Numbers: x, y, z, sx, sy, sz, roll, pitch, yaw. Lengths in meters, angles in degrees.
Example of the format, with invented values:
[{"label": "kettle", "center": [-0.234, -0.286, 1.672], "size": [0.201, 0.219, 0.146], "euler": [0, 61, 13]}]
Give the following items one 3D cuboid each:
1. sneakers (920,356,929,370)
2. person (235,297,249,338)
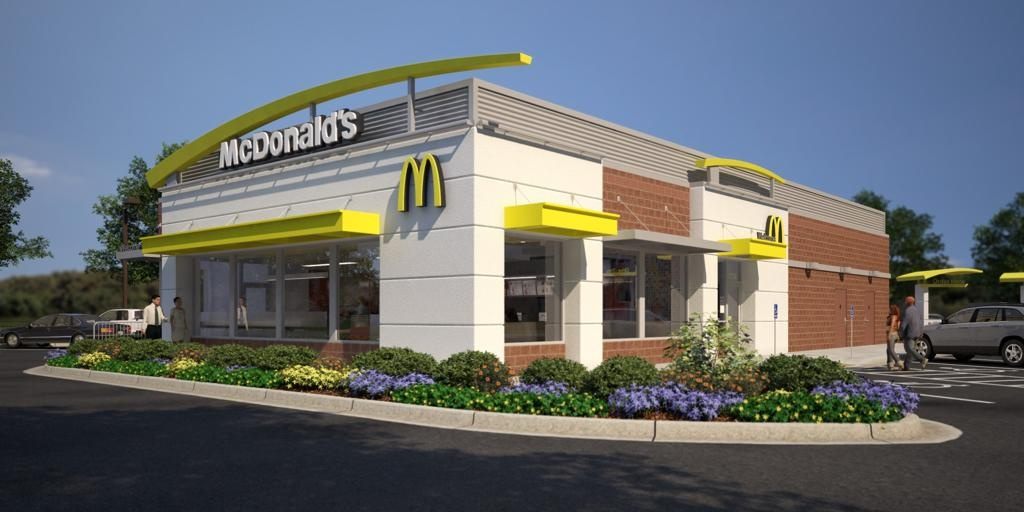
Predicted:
[{"label": "sneakers", "center": [17.502, 4.557, 31.661], "size": [0.253, 0.534, 0.213], "euler": [5, 13, 38]}, {"label": "person", "center": [-10.987, 2.369, 30.442], "size": [0.321, 1.317, 0.837], "euler": [-12, 18, -40]}]
